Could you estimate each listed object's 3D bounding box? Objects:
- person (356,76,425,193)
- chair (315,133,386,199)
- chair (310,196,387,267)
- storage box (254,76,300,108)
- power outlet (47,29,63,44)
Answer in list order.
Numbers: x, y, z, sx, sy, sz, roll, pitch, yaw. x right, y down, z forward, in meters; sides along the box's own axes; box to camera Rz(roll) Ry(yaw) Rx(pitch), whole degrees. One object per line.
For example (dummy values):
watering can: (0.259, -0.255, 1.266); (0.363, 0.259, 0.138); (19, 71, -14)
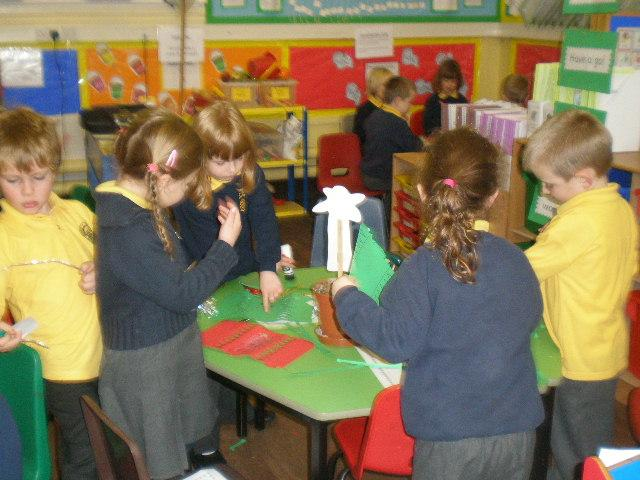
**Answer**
person: (0.645, -0.700, 4.606); (0.610, 1.167, 0.500); (-9, 26, -5)
chair: (0.213, -0.647, 4.740); (0.487, 0.471, 0.547); (-4, 20, -14)
chair: (0.163, -0.058, 2.768); (0.330, 0.480, 0.358); (0, 8, -1)
storage box: (-0.370, -1.323, 5.142); (0.290, 0.179, 0.283); (-1, 17, -7)
power outlet: (-2.315, -1.777, 5.021); (0.109, 0.118, 0.029); (-18, 9, -13)
